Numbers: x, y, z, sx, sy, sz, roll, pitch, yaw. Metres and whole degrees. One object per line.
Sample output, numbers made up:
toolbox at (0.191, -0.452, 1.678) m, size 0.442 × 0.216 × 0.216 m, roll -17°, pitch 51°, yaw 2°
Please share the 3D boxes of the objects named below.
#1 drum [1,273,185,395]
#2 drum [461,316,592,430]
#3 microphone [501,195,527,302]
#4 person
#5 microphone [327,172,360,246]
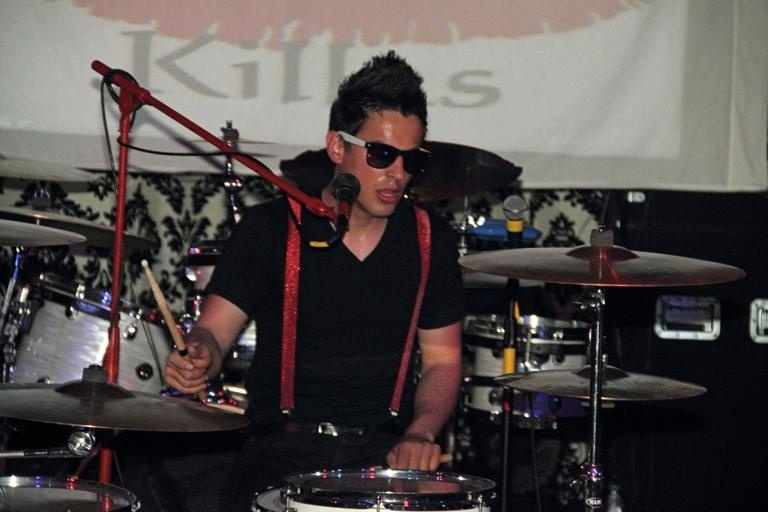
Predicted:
drum at (-1.628, 0.407, 5.530) m, size 0.761 × 0.710 × 0.740 m, roll 23°, pitch -6°, yaw -16°
drum at (0.773, 0.610, 5.544) m, size 0.635 × 0.456 × 0.632 m, roll 2°, pitch -2°, yaw 0°
microphone at (0.677, -0.029, 5.098) m, size 0.139 × 0.516 × 0.139 m, roll 2°, pitch 7°, yaw 28°
person at (-0.217, 0.044, 4.529) m, size 1.280 × 2.066 × 0.556 m, roll 3°, pitch -4°, yaw -11°
microphone at (-0.171, -0.210, 4.292) m, size 0.120 × 0.321 × 0.216 m, roll 2°, pitch -4°, yaw -3°
